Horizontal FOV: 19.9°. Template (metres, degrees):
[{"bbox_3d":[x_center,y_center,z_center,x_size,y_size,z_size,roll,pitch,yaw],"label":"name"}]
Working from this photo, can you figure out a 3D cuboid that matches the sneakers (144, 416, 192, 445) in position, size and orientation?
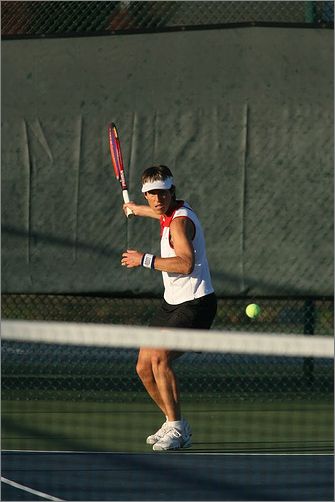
[{"bbox_3d":[0.016,0.916,4.792,0.097,0.303,0.147,-6,79,36],"label":"sneakers"}]

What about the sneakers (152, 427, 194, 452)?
[{"bbox_3d":[0.034,0.936,4.725,0.234,0.081,0.124,4,84,-42],"label":"sneakers"}]
